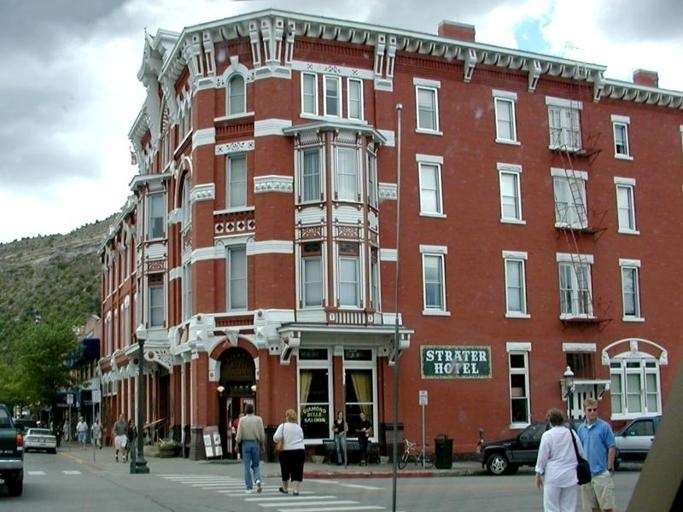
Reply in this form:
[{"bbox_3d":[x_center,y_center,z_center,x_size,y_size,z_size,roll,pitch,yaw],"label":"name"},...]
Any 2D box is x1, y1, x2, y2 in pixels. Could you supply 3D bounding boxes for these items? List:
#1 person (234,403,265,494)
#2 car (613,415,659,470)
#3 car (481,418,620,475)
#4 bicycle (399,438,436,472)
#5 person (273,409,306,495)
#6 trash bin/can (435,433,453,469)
[{"bbox_3d":[-3.115,6.481,35.090,0.877,2.986,1.277,2,-6,-17],"label":"person"},{"bbox_3d":[12.266,7.617,43.087,1.586,1.801,0.933,-4,-13,18],"label":"car"},{"bbox_3d":[7.282,8.226,43.300,4.551,2.433,2.775,-1,-11,10],"label":"car"},{"bbox_3d":[3.366,8.994,46.470,1.443,1.017,1.047,15,-33,13],"label":"bicycle"},{"bbox_3d":[-1.741,6.533,34.852,0.915,2.847,1.311,2,-6,-17],"label":"person"},{"bbox_3d":[4.319,8.411,44.731,0.974,2.093,1.237,2,-10,-2],"label":"trash bin/can"}]
